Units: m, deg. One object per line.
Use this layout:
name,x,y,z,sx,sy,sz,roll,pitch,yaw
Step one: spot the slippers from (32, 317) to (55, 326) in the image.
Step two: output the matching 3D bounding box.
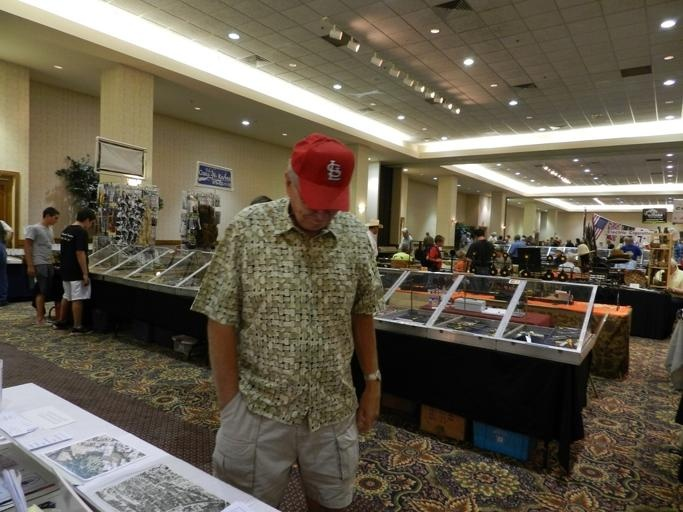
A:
slippers,-4.410,0.966,6.498,0.365,0.149,0.111,-2,-1,17

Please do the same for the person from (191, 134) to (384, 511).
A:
person,-0.178,0.291,1.777,0.799,1.533,0.356,-1,8,-19

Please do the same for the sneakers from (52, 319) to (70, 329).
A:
sneakers,-3.988,0.968,6.245,0.116,0.120,0.295,-2,-11,44

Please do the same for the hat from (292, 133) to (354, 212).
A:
hat,-0.071,-0.317,1.667,0.242,0.292,0.145,1,8,-7

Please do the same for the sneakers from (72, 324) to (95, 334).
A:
sneakers,-3.580,1.015,6.145,0.332,0.119,0.118,2,4,-22

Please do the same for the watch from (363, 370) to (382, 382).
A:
watch,0.136,0.541,1.930,0.065,0.038,0.067,-20,-5,33
